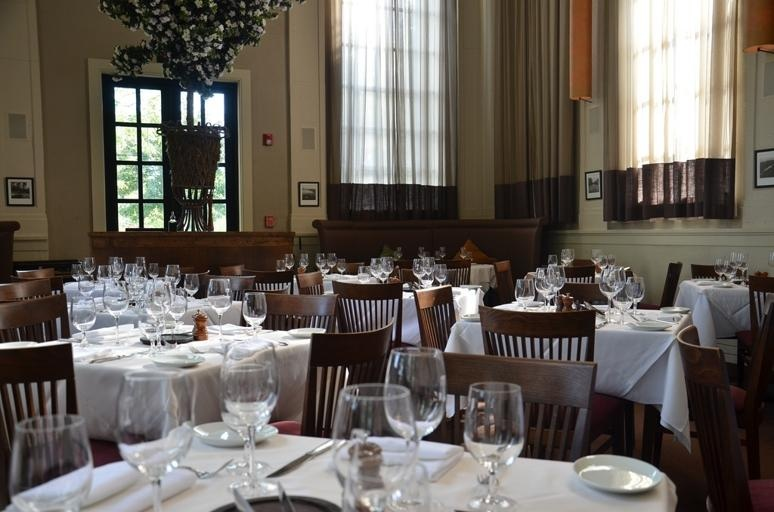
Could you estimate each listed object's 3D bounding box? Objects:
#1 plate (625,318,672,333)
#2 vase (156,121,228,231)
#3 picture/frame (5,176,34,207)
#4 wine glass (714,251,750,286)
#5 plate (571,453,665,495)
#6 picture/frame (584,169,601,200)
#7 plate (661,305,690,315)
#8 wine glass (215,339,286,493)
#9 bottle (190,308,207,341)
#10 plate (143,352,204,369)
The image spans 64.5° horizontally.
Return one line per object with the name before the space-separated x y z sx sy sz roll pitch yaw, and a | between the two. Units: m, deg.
plate | 1.478 0.384 3.455 0.280 0.039 0.216 -5 4 -10
vase | -2.026 -0.835 6.517 0.654 1.139 0.498 -4 4 -13
picture/frame | -4.894 -0.876 8.114 0.296 0.301 0.011 18 -14 -37
wine glass | 3.235 0.118 5.718 0.265 0.422 0.282 -1 -4 -6
plate | 0.669 0.627 1.766 0.257 0.064 0.148 -5 4 0
picture/frame | 2.865 -1.018 8.484 0.029 0.483 0.398 1 -1 -19
plate | 1.860 0.348 3.949 0.106 0.027 0.119 -3 0 6
wine glass | -0.383 0.437 1.755 0.159 0.398 0.307 -4 4 -6
bottle | -1.030 0.369 3.355 0.103 0.235 0.116 1 -6 -7
plate | -0.957 0.460 2.763 0.196 0.043 0.314 -7 4 -31
